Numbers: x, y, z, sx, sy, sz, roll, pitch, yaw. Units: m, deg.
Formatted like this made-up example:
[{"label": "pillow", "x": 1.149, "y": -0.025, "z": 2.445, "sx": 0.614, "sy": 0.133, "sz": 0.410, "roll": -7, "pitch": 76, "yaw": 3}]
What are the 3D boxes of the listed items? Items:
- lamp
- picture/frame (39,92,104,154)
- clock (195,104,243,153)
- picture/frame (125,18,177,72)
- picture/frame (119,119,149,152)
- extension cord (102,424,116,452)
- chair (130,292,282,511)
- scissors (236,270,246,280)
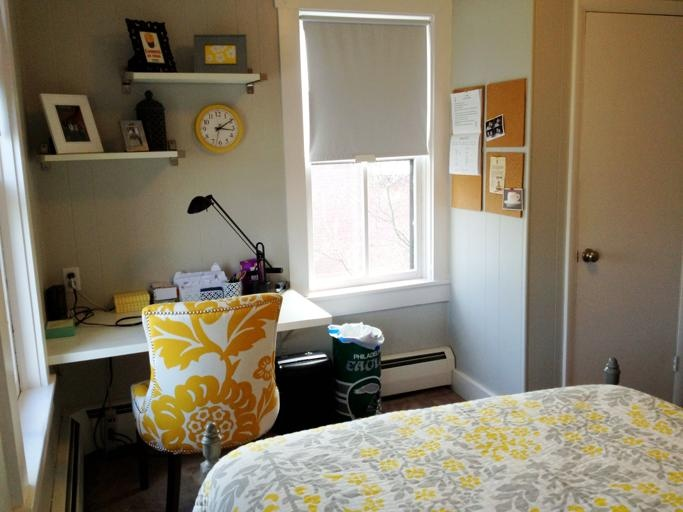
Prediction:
[{"label": "lamp", "x": -0.620, "y": -0.094, "z": 3.242, "sx": 0.498, "sy": 0.580, "sz": 0.356, "roll": -8, "pitch": 12, "yaw": -11}, {"label": "picture/frame", "x": -1.474, "y": -0.702, "z": 2.898, "sx": 0.299, "sy": 0.398, "sz": 0.027, "roll": -16, "pitch": 1, "yaw": -45}, {"label": "clock", "x": -0.756, "y": -0.763, "z": 3.255, "sx": 0.273, "sy": 0.298, "sz": 0.029, "roll": -1, "pitch": 4, "yaw": -17}, {"label": "picture/frame", "x": -1.079, "y": -1.158, "z": 2.995, "sx": 0.297, "sy": 0.325, "sz": 0.165, "roll": -11, "pitch": 20, "yaw": -38}, {"label": "picture/frame", "x": -1.165, "y": -0.673, "z": 3.033, "sx": 0.126, "sy": 0.232, "sz": 0.026, "roll": -21, "pitch": -10, "yaw": -14}, {"label": "extension cord", "x": -1.393, "y": 1.091, "z": 3.239, "sx": 0.084, "sy": 0.155, "sz": 0.023, "roll": -9, "pitch": 12, "yaw": -14}, {"label": "chair", "x": -0.597, "y": 0.577, "z": 2.675, "sx": 0.716, "sy": 1.151, "sz": 0.735, "roll": -2, "pitch": 11, "yaw": -21}, {"label": "scissors", "x": -0.618, "y": 0.130, "z": 3.337, "sx": 0.030, "sy": 0.032, "sz": 0.086, "roll": -33, "pitch": -6, "yaw": -24}]
